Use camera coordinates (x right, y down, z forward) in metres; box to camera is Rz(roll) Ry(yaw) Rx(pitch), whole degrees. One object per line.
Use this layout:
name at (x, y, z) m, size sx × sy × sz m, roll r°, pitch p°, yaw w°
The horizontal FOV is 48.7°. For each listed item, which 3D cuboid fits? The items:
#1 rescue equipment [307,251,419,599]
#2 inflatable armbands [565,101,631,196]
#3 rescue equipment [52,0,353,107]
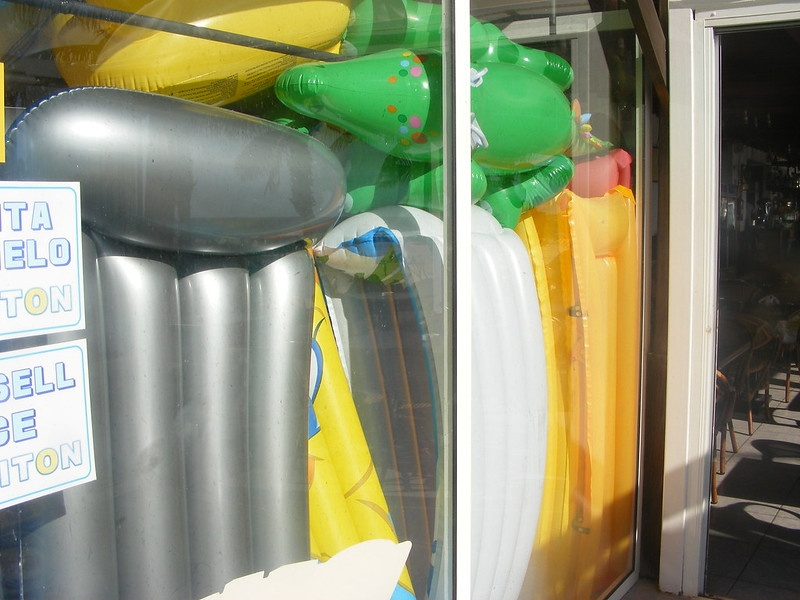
rescue equipment at (-0.094, 0.282, 1.821) m, size 0.136 × 0.619 × 0.102 m, roll -5°, pitch 2°, yaw 25°
inflatable armbands at (0.559, -0.396, 2.512) m, size 0.179 × 0.277 × 0.137 m, roll -22°, pitch 16°, yaw -23°
rescue equipment at (-0.397, -0.451, 1.645) m, size 0.397 × 0.232 × 0.130 m, roll -5°, pitch 6°, yaw -37°
